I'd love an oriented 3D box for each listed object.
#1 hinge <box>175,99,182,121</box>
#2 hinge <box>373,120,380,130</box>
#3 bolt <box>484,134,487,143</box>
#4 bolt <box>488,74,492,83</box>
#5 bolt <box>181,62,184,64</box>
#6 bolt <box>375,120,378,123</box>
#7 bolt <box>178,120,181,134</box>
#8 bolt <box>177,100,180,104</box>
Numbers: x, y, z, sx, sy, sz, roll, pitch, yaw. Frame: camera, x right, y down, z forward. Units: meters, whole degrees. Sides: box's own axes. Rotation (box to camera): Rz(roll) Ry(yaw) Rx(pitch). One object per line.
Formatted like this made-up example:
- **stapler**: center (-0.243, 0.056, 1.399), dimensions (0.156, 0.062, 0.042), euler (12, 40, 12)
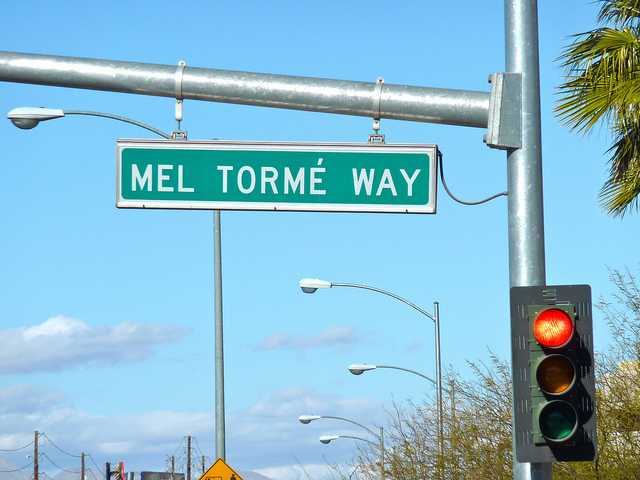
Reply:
- **hinge**: center (-1.912, -1.723, 22.347), dimensions (0.066, 0.239, 0.162), euler (-1, -16, -15)
- **hinge**: center (0.738, -1.510, 22.145), dimensions (0.072, 0.130, 0.068), euler (-7, -16, 6)
- **bolt**: center (2.173, -1.321, 21.849), dimensions (0.048, 0.084, 0.017), euler (-20, -21, 41)
- **bolt**: center (2.236, -2.078, 21.811), dimensions (0.047, 0.084, 0.026), euler (-10, -16, 18)
- **bolt**: center (-1.864, -2.329, 22.268), dimensions (0.034, 0.021, 0.007), euler (2, -25, -5)
- **bolt**: center (0.741, -1.559, 22.143), dimensions (0.034, 0.030, 0.020), euler (-4, -16, -4)
- **bolt**: center (-1.905, -1.506, 22.348), dimensions (0.031, 0.189, 0.060), euler (3, -18, -27)
- **bolt**: center (-1.916, -1.828, 22.314), dimensions (0.026, 0.045, 0.029), euler (1, -17, -22)
